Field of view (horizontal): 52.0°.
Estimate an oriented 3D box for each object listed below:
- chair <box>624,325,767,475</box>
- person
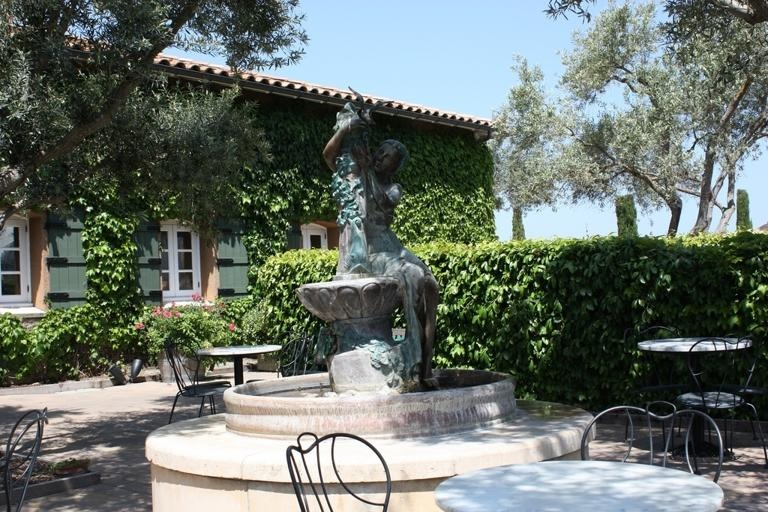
[{"bbox_3d":[3.638,1.524,9.181,1.406,1.531,1.481,-1,1,24],"label":"chair"},{"bbox_3d":[-0.038,-0.131,8.246,1.161,2.974,0.522,-1,-5,4],"label":"person"}]
